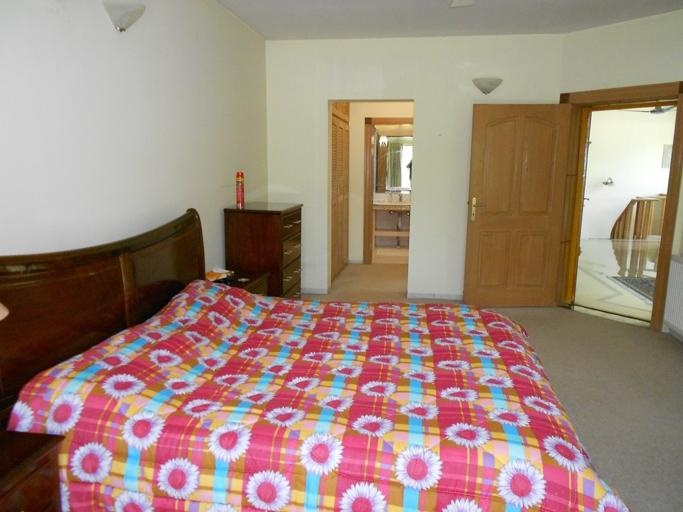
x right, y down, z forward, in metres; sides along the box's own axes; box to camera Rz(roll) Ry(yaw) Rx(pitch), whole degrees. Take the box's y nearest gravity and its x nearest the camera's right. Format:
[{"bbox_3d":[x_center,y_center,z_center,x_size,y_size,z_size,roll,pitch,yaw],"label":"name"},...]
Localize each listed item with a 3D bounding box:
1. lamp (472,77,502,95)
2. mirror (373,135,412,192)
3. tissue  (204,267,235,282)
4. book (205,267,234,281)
[{"bbox_3d":[1.617,-1.901,5.366,0.334,0.186,0.228,5,14,13],"label":"lamp"},{"bbox_3d":[0.880,-1.550,8.205,0.582,0.979,0.367,3,14,4],"label":"mirror"},{"bbox_3d":[-1.018,0.159,4.066,0.142,0.046,0.148,5,8,19],"label":"tissue "},{"bbox_3d":[-1.033,0.148,4.098,0.138,0.045,0.146,3,8,13],"label":"book"}]
